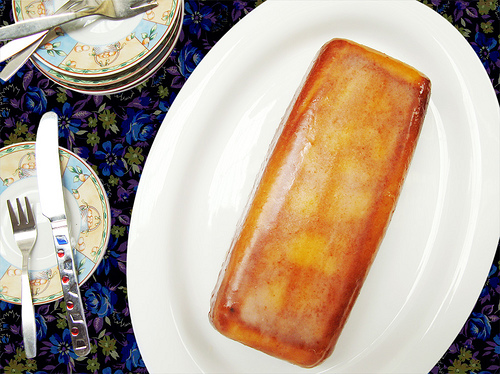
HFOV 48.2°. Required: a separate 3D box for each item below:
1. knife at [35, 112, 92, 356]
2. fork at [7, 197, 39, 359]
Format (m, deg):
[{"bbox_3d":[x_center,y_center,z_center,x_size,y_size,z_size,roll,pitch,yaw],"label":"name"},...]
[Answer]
[{"bbox_3d":[-0.515,0.100,1.534,0.089,0.052,0.829,-4,92,-6],"label":"knife"},{"bbox_3d":[-0.612,0.220,1.506,0.053,0.050,0.510,-2,91,-7],"label":"fork"}]
